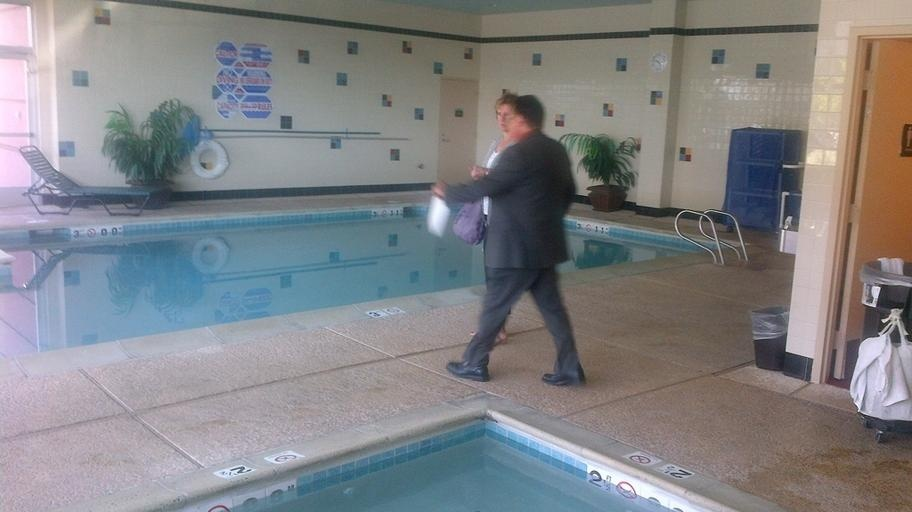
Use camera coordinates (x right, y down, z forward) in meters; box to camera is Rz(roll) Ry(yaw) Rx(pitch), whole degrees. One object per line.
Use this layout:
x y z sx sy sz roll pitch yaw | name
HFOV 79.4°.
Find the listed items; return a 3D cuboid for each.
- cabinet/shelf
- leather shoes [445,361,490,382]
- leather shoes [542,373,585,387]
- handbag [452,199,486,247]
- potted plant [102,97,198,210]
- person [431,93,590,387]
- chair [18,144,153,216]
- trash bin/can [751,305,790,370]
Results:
6.071 -1.476 10.887 1.320 1.984 0.421 7 19 23 | cabinet/shelf
0.126 1.057 5.126 0.391 0.152 0.157 10 12 26 | leather shoes
0.983 1.115 4.992 0.301 0.104 0.143 3 1 0 | leather shoes
0.162 -0.345 5.173 0.173 0.434 0.495 2 11 -28 | handbag
-6.335 -2.129 11.331 2.572 2.105 2.038 0 11 -14 | potted plant
0.575 -0.096 4.868 1.226 2.506 0.533 0 18 2 | person
-6.912 -1.277 10.282 2.192 0.959 1.068 1 2 -30 | chair
3.107 0.826 5.443 0.357 0.536 0.259 1 17 4 | trash bin/can
